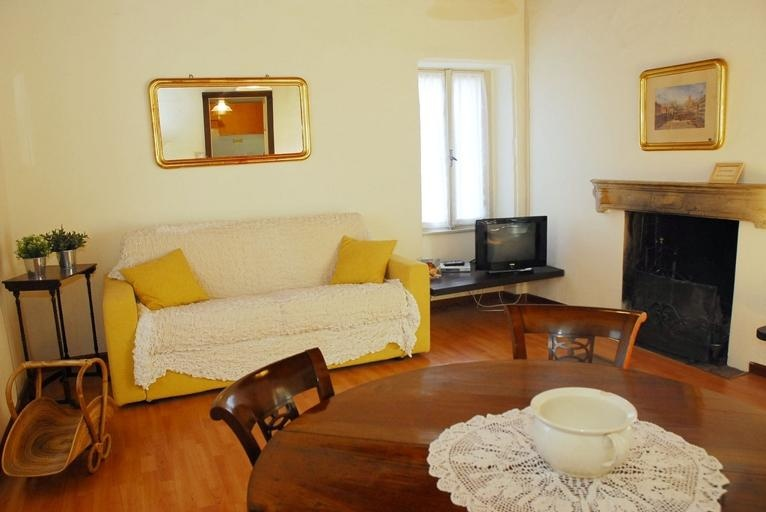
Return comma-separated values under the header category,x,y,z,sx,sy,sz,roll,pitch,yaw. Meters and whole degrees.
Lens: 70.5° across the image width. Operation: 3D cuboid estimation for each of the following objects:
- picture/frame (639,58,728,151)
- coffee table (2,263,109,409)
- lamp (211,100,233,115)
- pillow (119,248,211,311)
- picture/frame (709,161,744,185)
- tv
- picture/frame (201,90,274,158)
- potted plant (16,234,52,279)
category,x,y,z,sx,sy,sz,roll,pitch,yaw
picture/frame,2.363,-1.184,4.228,0.095,0.762,0.844,-8,9,-33
coffee table,-2.483,0.544,4.186,0.597,0.947,0.901,-8,12,-27
lamp,-1.406,-1.291,4.718,0.136,0.091,0.130,-8,18,-26
pillow,-1.673,0.179,4.176,0.596,0.387,0.383,-6,12,-25
picture/frame,2.537,-0.606,3.996,0.223,0.203,0.018,9,-21,46
tv,1.193,-0.097,5.494,0.990,0.658,0.503,-2,7,-8
picture/frame,-1.309,-1.172,4.774,0.671,0.611,0.072,-3,8,-24
potted plant,-2.491,0.006,3.889,0.209,0.282,0.276,-8,13,-31
